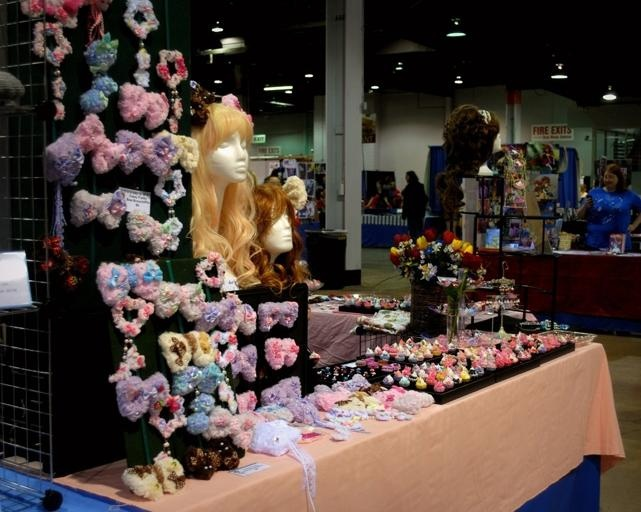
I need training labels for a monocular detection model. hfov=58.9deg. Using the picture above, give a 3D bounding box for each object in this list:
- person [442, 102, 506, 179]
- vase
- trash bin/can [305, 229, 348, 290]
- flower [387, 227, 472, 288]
[{"bbox_3d":[1.225,-0.979,4.919,0.565,0.782,0.595,-8,16,-4],"label":"person"},{"bbox_3d":[0.627,0.294,3.051,0.244,0.306,0.262,1,-2,-7],"label":"vase"},{"bbox_3d":[0.120,0.062,8.857,0.765,0.978,0.819,0,5,5],"label":"trash bin/can"},{"bbox_3d":[0.586,0.009,2.970,0.338,0.282,0.544,-3,6,-25],"label":"flower"}]
